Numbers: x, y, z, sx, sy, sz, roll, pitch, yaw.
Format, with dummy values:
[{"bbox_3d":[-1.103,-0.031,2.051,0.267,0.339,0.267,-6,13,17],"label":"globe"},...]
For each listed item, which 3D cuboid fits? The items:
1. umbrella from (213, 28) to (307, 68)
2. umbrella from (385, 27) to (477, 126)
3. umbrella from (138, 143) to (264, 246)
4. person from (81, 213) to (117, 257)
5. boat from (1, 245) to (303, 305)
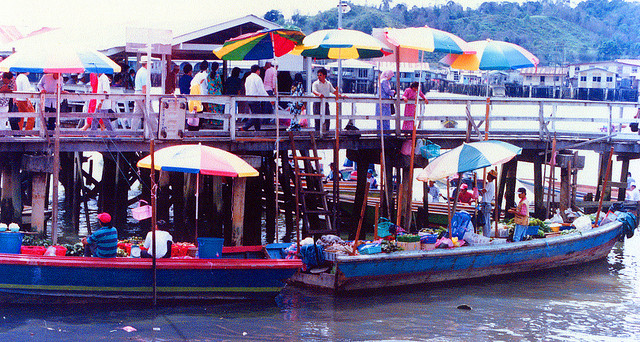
[{"bbox_3d":[-2.587,-5.215,43.426,3.618,1.617,1.382,-1,1,5],"label":"umbrella"},{"bbox_3d":[4.452,-5.355,44.338,3.161,4.300,2.850,1,-2,-18],"label":"umbrella"},{"bbox_3d":[-5.121,0.409,41.696,4.104,3.105,3.770,-1,11,-29],"label":"umbrella"},{"bbox_3d":[-8.782,2.560,39.899,1.289,1.720,0.402,-2,2,-10],"label":"person"},{"bbox_3d":[-7.070,4.374,40.087,11.609,1.703,3.792,2,-6,-12],"label":"boat"}]
